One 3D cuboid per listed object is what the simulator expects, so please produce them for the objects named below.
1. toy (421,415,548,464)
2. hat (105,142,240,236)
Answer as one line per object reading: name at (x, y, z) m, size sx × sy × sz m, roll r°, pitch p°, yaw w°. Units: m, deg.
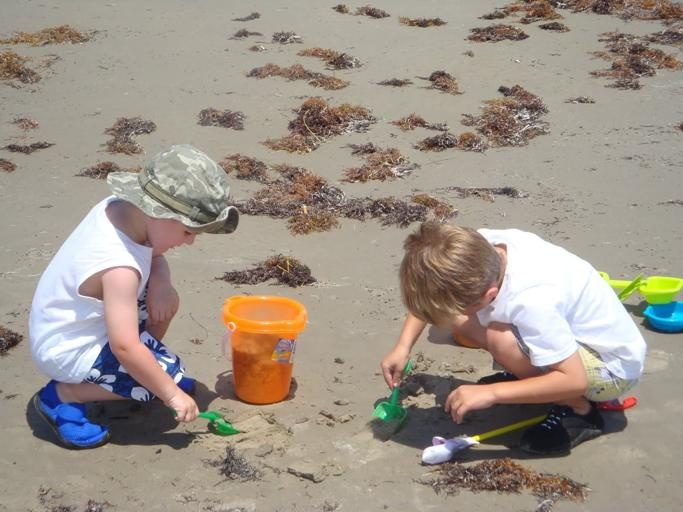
toy at (0.970, 1.225, 5.608) m, size 1.049 × 0.163 × 0.238 m, roll -10°, pitch 1°, yaw -22°
hat at (-1.038, -0.395, 5.353) m, size 0.739 × 0.285 × 0.775 m, roll 32°, pitch 20°, yaw 31°
